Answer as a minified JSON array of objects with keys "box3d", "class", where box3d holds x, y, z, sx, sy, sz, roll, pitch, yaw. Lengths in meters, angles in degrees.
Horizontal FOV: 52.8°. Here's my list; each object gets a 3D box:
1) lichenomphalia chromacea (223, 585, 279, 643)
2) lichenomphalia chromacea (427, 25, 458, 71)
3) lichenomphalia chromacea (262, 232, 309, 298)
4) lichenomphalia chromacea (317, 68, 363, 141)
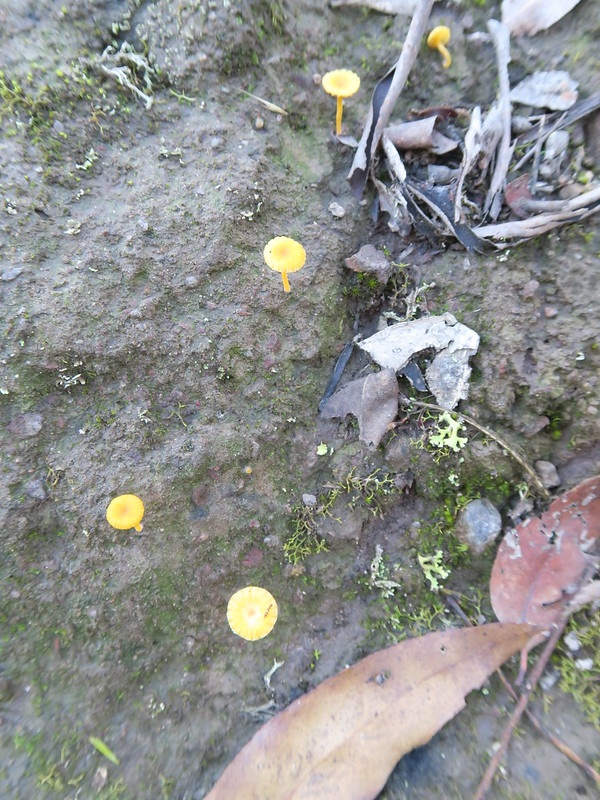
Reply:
[{"box3d":[-0.298,1.311,3.728,0.286,0.074,0.295,12,55,6],"class":"lichenomphalia chromacea"},{"box3d":[0.944,-2.352,4.017,0.072,0.150,0.249,-7,83,-24],"class":"lichenomphalia chromacea"},{"box3d":[-0.106,-0.911,4.013,0.287,0.356,0.288,45,82,4],"class":"lichenomphalia chromacea"},{"box3d":[0.267,-2.049,4.133,0.237,0.397,0.377,3,52,1],"class":"lichenomphalia chromacea"}]
